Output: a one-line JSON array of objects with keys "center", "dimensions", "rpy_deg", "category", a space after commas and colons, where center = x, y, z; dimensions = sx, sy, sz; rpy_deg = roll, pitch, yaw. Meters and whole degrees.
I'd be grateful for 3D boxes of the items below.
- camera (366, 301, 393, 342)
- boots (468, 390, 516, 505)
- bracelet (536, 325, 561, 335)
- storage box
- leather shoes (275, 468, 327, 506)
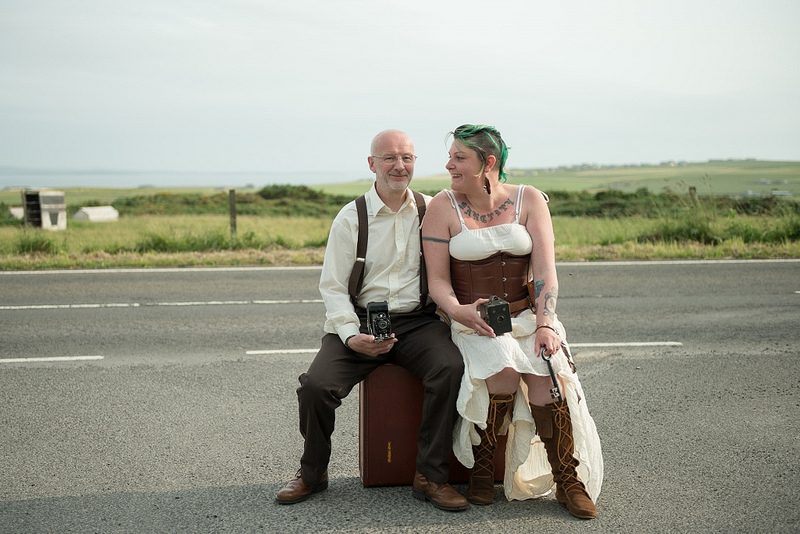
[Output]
[{"center": [-0.165, 0.451, 6.787], "dimensions": [0.202, 0.314, 0.131], "rpy_deg": [-3, 14, -8], "category": "camera"}, {"center": [0.769, 1.525, 6.783], "dimensions": [0.259, 0.906, 0.444], "rpy_deg": [7, 16, 28], "category": "boots"}, {"center": [1.275, 0.536, 6.828], "dimensions": [0.207, 0.101, 0.108], "rpy_deg": [-1, 14, -2], "category": "bracelet"}, {"center": [0.100, 1.496, 7.368], "dimensions": [1.297, 1.096, 0.683], "rpy_deg": [8, -21, -27], "category": "storage box"}, {"center": [-0.844, 1.890, 6.857], "dimensions": [0.471, 0.220, 0.199], "rpy_deg": [0, -3, -41], "category": "leather shoes"}]
